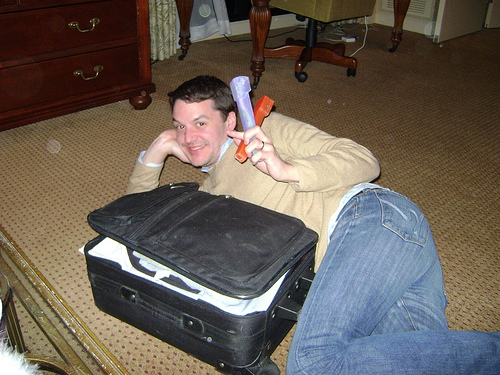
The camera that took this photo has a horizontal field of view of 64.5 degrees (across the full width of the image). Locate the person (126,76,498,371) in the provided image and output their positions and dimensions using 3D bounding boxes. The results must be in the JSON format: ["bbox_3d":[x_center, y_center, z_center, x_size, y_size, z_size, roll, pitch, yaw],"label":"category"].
[{"bbox_3d":[0.144,0.071,1.206,1.148,0.521,0.414,33,7,38],"label":"person"}]

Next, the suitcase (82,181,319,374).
[{"bbox_3d":[-0.181,0.221,1.193,0.652,0.350,0.425,19,40,23],"label":"suitcase"}]

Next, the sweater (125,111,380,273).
[{"bbox_3d":[0.044,-0.063,1.222,0.558,0.229,0.572,16,45,24],"label":"sweater"}]

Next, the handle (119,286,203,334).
[{"bbox_3d":[-0.225,0.341,1.058,0.138,0.034,0.141,17,14,23],"label":"handle"}]
